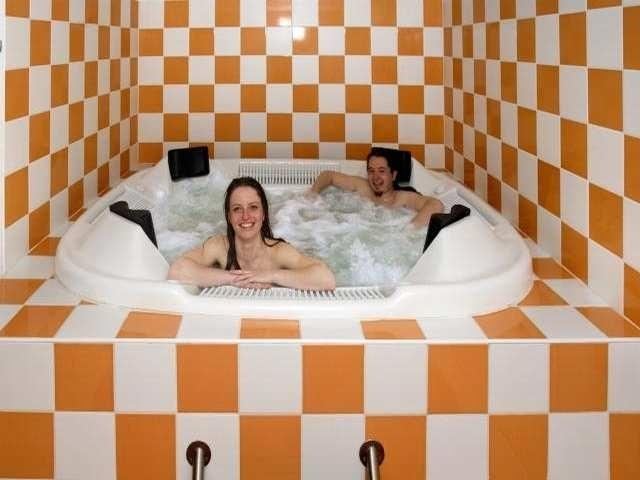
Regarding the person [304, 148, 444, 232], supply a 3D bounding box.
[{"bbox_3d":[0.323,-0.312,2.892,0.744,0.344,0.370,18,26,31],"label":"person"}]
